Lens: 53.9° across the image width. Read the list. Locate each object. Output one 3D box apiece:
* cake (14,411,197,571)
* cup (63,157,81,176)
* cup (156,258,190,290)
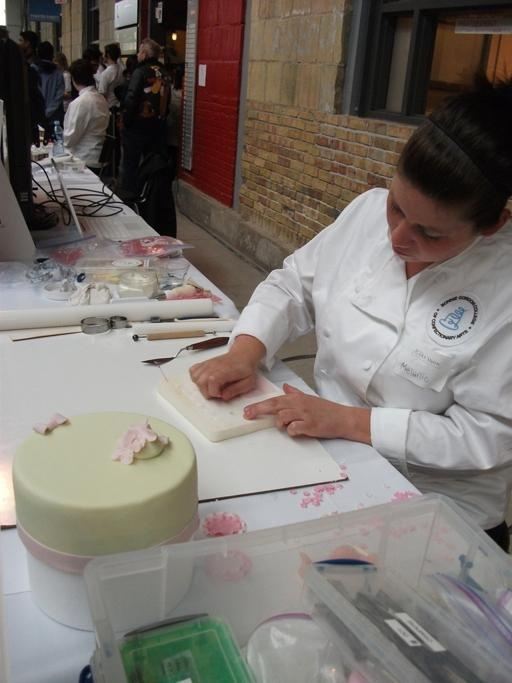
[{"bbox_3d":[-0.146,0.146,0.515,0.156,0.086,0.148,0,31,-14],"label":"cake"},{"bbox_3d":[-1.221,-1.155,3.351,0.167,0.081,0.213,-5,39,-15],"label":"cup"},{"bbox_3d":[-0.258,-0.205,1.559,0.098,0.141,0.092,4,53,-6],"label":"cup"}]
